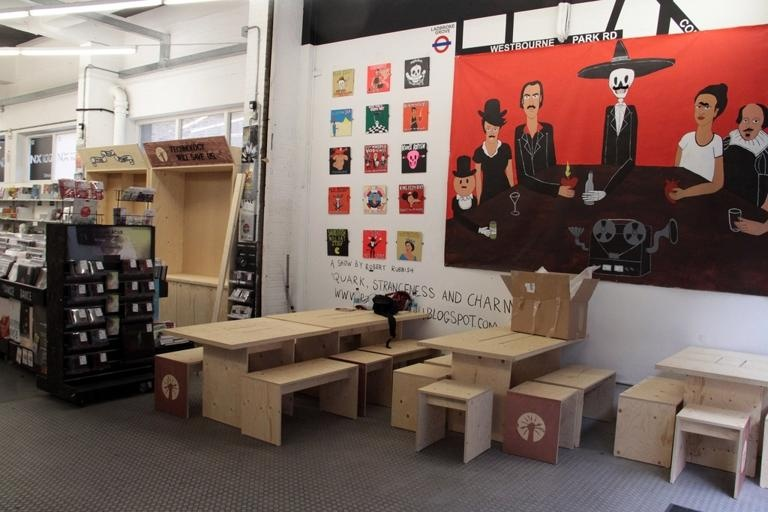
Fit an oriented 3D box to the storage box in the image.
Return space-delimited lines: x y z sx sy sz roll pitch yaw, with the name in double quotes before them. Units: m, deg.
"storage box" 1.770 0.512 5.965 0.805 0.637 0.948 2 -1 -39
